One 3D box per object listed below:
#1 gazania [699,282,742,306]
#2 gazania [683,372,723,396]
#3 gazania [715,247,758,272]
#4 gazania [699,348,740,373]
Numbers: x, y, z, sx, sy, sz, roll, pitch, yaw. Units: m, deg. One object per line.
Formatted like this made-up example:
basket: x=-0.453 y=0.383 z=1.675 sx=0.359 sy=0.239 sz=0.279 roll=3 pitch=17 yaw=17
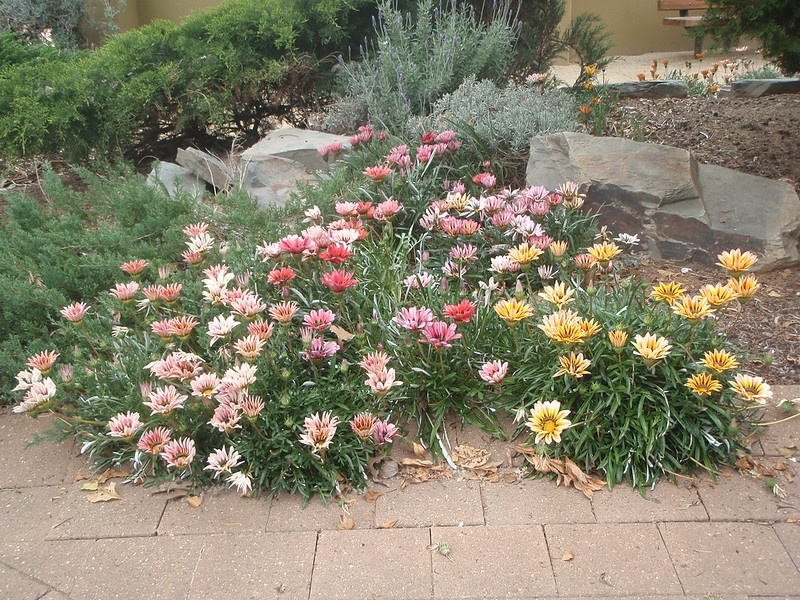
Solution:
gazania: x=1.652 y=-0.036 z=2.866 sx=0.168 sy=0.115 sz=0.186 roll=-4 pitch=12 yaw=4
gazania: x=1.501 y=0.404 z=2.694 sx=0.133 sy=0.062 sz=0.132 roll=-26 pitch=36 yaw=-16
gazania: x=2.071 y=-0.252 z=3.366 sx=0.190 sy=0.120 sz=0.203 roll=-18 pitch=21 yaw=-6
gazania: x=1.595 y=0.322 z=2.740 sx=0.144 sy=0.068 sz=0.148 roll=0 pitch=36 yaw=29
